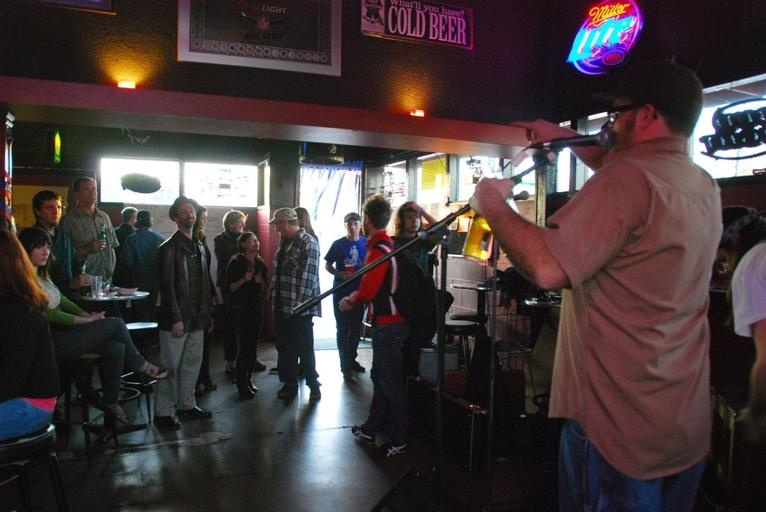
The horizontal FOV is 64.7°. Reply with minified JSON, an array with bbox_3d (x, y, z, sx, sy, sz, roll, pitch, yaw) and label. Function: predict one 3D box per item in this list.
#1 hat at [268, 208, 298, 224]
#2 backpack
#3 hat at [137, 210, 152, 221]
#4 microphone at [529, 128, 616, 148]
[{"bbox_3d":[-1.069,-0.431,6.408,0.317,0.163,0.224,2,3,1],"label":"hat"},{"bbox_3d":[0.176,0.222,4.999,0.489,0.656,0.189,-3,11,-16],"label":"backpack"},{"bbox_3d":[-2.928,-0.497,7.412,0.117,0.078,0.144,4,9,4],"label":"hat"},{"bbox_3d":[0.936,-0.557,2.988,0.339,0.087,0.108,5,17,45],"label":"microphone"}]
